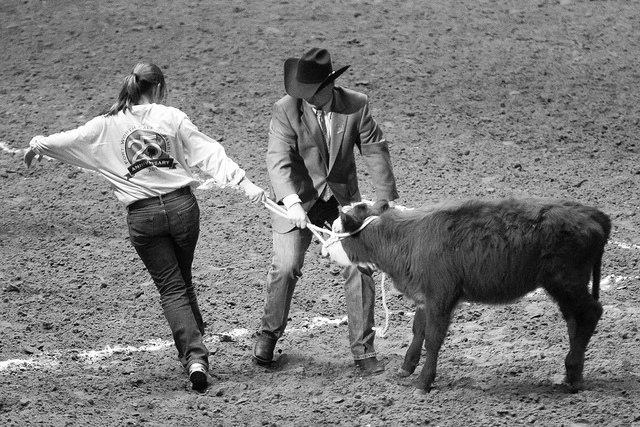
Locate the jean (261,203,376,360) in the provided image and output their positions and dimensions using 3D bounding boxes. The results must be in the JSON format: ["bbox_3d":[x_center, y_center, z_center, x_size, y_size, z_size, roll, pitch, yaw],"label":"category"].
[{"bbox_3d":[-0.053,0.759,10.807,1.299,1.703,0.760,-2,27,8],"label":"jean"}]

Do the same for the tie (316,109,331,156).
[{"bbox_3d":[0.040,-0.878,10.562,0.097,0.531,0.087,5,24,21],"label":"tie"}]

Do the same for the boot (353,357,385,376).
[{"bbox_3d":[0.547,1.684,10.777,0.318,0.161,0.255,-4,23,0],"label":"boot"}]

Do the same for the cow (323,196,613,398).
[{"bbox_3d":[1.614,0.825,10.217,2.648,1.962,0.972,2,27,15],"label":"cow"}]
